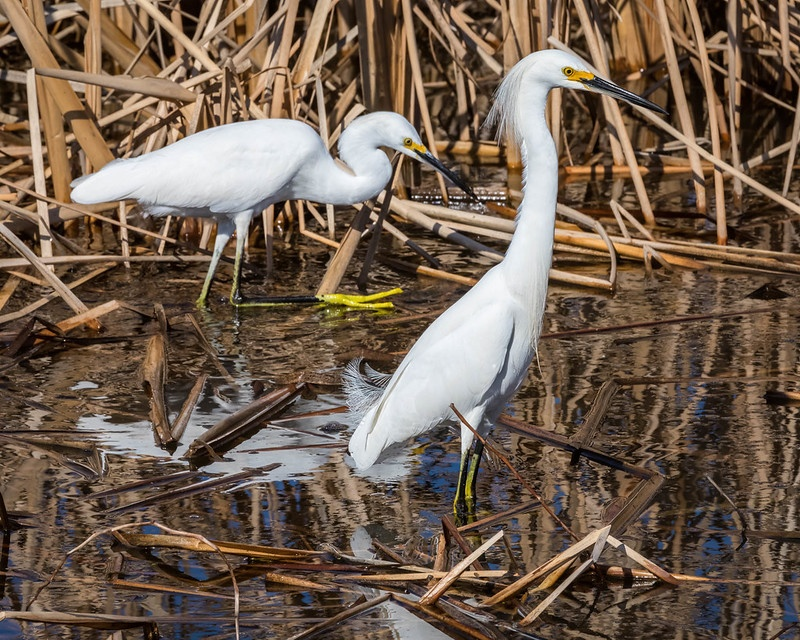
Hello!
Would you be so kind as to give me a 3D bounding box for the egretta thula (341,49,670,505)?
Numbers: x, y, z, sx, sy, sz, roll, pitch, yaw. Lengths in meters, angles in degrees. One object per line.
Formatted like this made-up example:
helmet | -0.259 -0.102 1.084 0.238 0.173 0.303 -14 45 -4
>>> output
egretta thula | 0.316 -0.169 4.262 0.603 1.746 1.327 16 32 7
